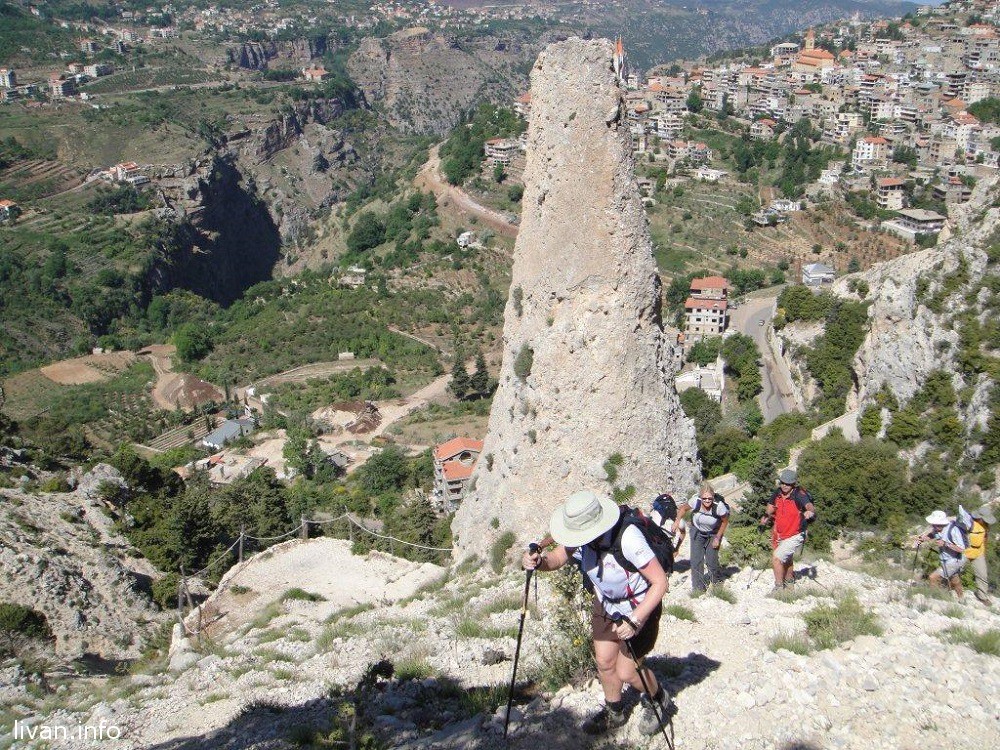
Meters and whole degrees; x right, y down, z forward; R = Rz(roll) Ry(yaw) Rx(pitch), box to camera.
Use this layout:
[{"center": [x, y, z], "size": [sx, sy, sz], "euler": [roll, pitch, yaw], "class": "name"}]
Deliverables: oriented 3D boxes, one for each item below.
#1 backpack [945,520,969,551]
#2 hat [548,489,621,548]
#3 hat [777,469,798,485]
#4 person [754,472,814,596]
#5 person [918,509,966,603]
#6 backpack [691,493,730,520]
[{"center": [9.040, 3.201, 16.644], "size": [0.511, 0.522, 0.317], "euler": [-9, 4, -25], "class": "backpack"}, {"center": [1.318, 2.230, 13.151], "size": [0.892, 0.313, 0.957], "euler": [-4, 39, 47], "class": "hat"}, {"center": [5.560, 1.967, 16.250], "size": [0.300, 0.408, 0.687], "euler": [-7, 3, 16], "class": "hat"}, {"center": [5.592, 2.930, 16.270], "size": [0.919, 2.322, 1.023], "euler": [-6, 4, 17], "class": "person"}, {"center": [8.886, 3.563, 16.698], "size": [0.765, 1.518, 0.991], "euler": [-6, 4, 29], "class": "person"}, {"center": [4.202, 2.609, 16.726], "size": [0.645, 0.666, 0.463], "euler": [-4, 13, -19], "class": "backpack"}]
